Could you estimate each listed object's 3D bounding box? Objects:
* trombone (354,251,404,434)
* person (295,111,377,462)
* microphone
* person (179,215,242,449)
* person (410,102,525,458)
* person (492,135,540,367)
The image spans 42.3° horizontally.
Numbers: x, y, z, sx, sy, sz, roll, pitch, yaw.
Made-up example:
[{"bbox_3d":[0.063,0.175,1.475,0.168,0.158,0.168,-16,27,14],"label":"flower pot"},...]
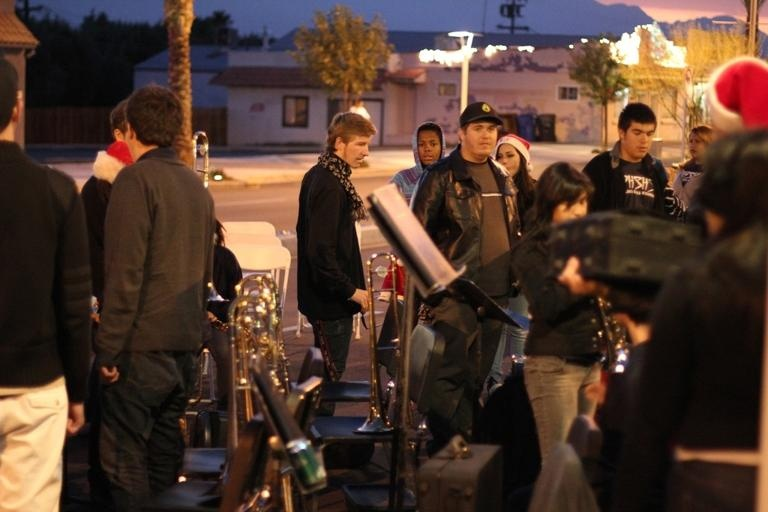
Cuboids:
[{"bbox_3d":[0.020,0.571,6.586,0.414,1.173,0.367,-3,-2,-11],"label":"trombone"},{"bbox_3d":[-0.402,0.183,6.957,0.676,2.218,0.727,1,4,-1],"label":"person"},{"bbox_3d":[-0.320,0.592,3.430,0.255,0.484,0.248,0,14,-2],"label":"microphone"},{"bbox_3d":[-1.126,0.402,6.813,0.463,1.779,0.551,-1,-10,-1],"label":"person"},{"bbox_3d":[0.555,0.079,6.708,0.711,2.270,1.545,1,5,8],"label":"person"},{"bbox_3d":[1.134,-0.052,8.659,0.511,1.979,0.502,1,24,7],"label":"person"}]
